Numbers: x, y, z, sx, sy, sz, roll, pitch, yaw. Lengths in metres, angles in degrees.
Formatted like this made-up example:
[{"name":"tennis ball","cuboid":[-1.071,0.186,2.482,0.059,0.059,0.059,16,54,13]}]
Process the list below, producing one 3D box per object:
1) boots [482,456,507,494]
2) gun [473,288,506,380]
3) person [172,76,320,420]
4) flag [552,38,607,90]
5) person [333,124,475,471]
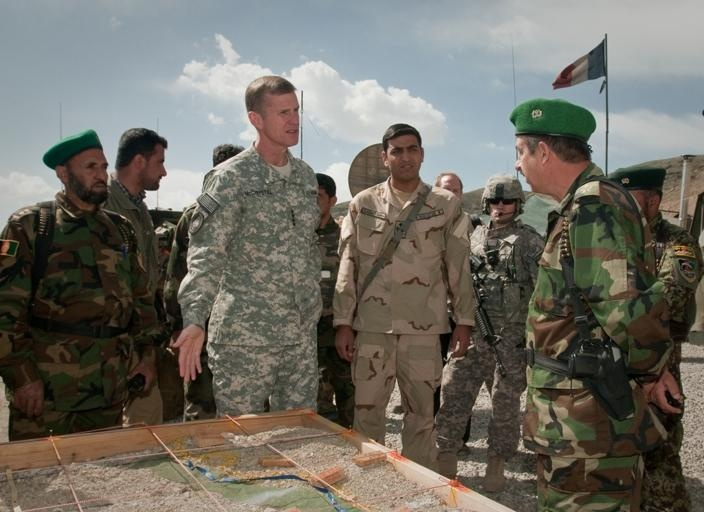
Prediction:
[{"name":"boots","cuboid":[1.198,1.855,5.413,0.189,0.297,0.075,3,-10,14]},{"name":"gun","cuboid":[1.228,0.722,5.719,0.117,0.814,0.305,-25,-7,9]},{"name":"person","cuboid":[-0.609,-0.076,4.232,1.085,2.325,0.610,1,1,-26]},{"name":"flag","cuboid":[5.728,-4.784,15.953,1.256,0.818,0.478,0,1,-26]},{"name":"person","cuboid":[0.406,0.258,5.145,1.126,2.690,0.593,1,1,9]}]
